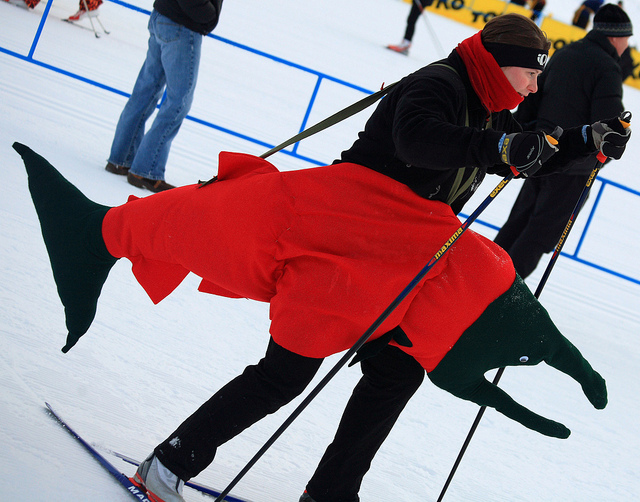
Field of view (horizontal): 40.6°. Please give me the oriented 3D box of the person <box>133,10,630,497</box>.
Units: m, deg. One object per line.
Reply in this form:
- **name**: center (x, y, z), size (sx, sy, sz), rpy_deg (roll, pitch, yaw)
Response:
- **person**: center (0.297, 0.077, 3.418), size (1.147, 1.720, 0.697), rpy_deg (24, 15, -19)

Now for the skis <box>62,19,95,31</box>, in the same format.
- **skis**: center (-2.546, -2.379, 9.048), size (0.326, 0.046, 0.091), rpy_deg (14, 17, -36)

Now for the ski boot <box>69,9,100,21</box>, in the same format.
- **ski boot**: center (-2.444, -2.442, 8.916), size (0.128, 0.207, 0.057), rpy_deg (14, 63, -73)

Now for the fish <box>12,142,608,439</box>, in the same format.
- **fish**: center (-0.057, 0.123, 3.495), size (2.480, 0.878, 0.686), rpy_deg (9, 13, 13)

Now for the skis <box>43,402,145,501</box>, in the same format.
- **skis**: center (-0.887, 0.790, 3.339), size (0.494, 0.035, 0.053), rpy_deg (37, 57, 15)
